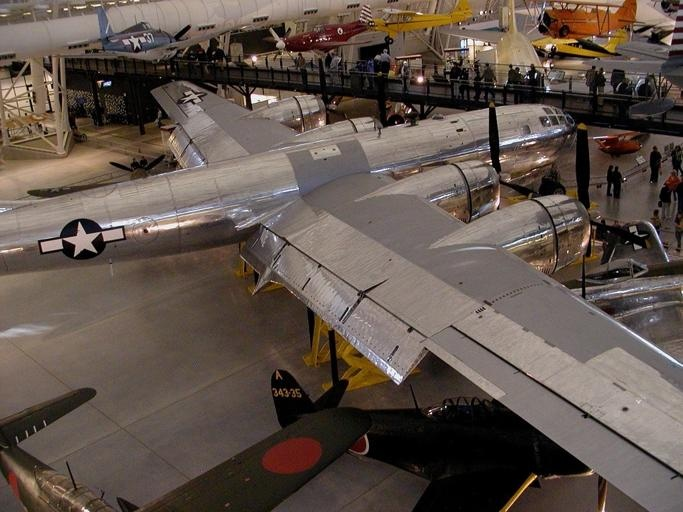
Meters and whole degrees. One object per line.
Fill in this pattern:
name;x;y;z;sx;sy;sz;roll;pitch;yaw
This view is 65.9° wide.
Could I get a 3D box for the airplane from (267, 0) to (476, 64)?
airplane;1.991;-15.272;35.363;9.534;2.544;10.020;-17;28;-20
